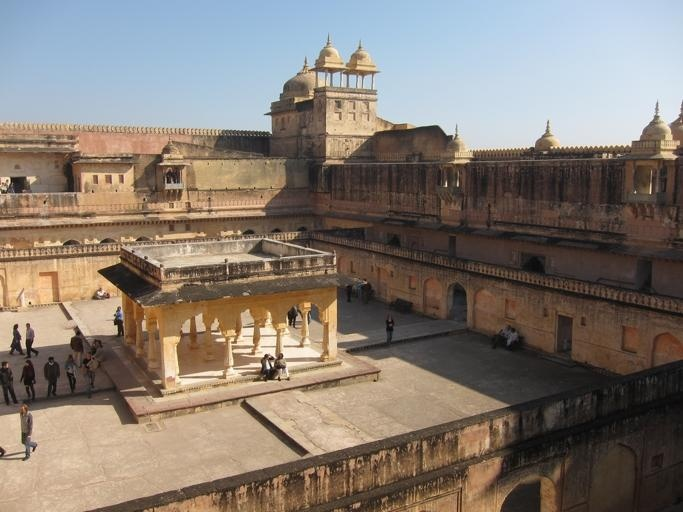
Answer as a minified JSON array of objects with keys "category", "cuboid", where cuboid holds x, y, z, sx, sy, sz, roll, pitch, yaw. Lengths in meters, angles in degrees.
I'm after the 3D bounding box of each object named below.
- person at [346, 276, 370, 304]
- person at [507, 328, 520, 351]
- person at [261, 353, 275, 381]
[{"category":"person","cuboid":[0.977,1.840,37.648,1.082,1.127,1.656,-4,8,-39]},{"category":"person","cuboid":[7.289,3.437,29.177,0.675,0.799,0.404,-13,18,-43]},{"category":"person","cuboid":[-2.631,3.948,24.928,0.539,0.807,0.530,-2,13,-6]}]
